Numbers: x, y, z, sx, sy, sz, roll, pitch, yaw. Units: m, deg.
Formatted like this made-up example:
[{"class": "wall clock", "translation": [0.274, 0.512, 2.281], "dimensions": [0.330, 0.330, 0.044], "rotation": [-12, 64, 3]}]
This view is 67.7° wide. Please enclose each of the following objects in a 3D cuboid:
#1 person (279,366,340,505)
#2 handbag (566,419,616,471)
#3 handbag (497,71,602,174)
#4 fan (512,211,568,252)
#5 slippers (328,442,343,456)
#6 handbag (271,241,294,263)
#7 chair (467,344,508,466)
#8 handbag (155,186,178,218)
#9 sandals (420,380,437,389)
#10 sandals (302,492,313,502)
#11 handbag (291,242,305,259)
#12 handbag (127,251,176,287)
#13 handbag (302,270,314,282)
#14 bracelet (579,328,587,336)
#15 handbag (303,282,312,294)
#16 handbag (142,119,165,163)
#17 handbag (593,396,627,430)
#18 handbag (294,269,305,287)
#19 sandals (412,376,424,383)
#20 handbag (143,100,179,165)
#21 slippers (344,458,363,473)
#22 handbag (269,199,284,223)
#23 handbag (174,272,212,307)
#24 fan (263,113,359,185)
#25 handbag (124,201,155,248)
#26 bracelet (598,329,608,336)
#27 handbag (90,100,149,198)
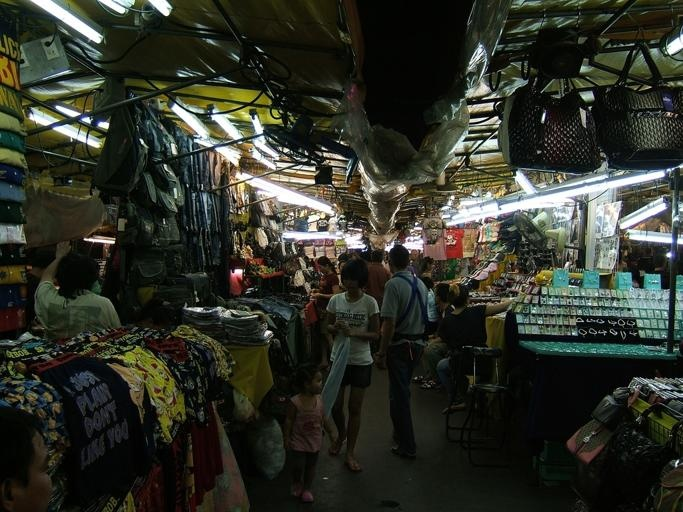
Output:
[{"class": "person", "translation": [-0.314, 1.439, 4.212], "dimensions": [0.286, 1.056, 0.366], "rotation": [1, 5, 2]}, {"class": "handbag", "translation": [1.536, 1.159, 3.121], "dimensions": [0.285, 0.082, 0.248], "rotation": [-40, 15, 13]}, {"class": "handbag", "translation": [1.584, -0.914, 3.788], "dimensions": [0.711, 0.665, 0.402], "rotation": [-2, 6, -7]}, {"class": "fan", "translation": [3.369, -0.410, 8.450], "dimensions": [0.818, 0.650, 1.499], "rotation": [4, 6, 32]}, {"class": "slippers", "translation": [-0.062, 1.900, 5.018], "dimensions": [0.120, 0.111, 0.094], "rotation": [11, -5, 12]}, {"class": "handbag", "translation": [-1.148, -0.072, 9.764], "dimensions": [0.396, 0.223, 0.620], "rotation": [1, -3, 5]}, {"class": "chair", "translation": [1.445, 1.459, 5.193], "dimensions": [0.387, 0.915, 0.410], "rotation": [8, -9, 5]}, {"class": "handbag", "translation": [-1.854, -0.575, 5.379], "dimensions": [0.065, 0.218, 0.166], "rotation": [-23, 19, -10]}, {"class": "sandals", "translation": [1.219, 1.824, 7.168], "dimensions": [0.229, 0.098, 0.085], "rotation": [1, -4, 1]}, {"class": "sandals", "translation": [-0.276, 1.939, 4.085], "dimensions": [0.055, 0.037, 0.102], "rotation": [1, -11, -2]}, {"class": "handbag", "translation": [-0.979, -0.134, 11.485], "dimensions": [0.330, 0.323, 0.318], "rotation": [-2, -4, 5]}, {"class": "handbag", "translation": [-1.959, 0.064, 5.079], "dimensions": [0.406, 0.387, 0.295], "rotation": [-6, 29, -35]}, {"class": "handbag", "translation": [-0.727, 0.436, 11.225], "dimensions": [0.237, 0.212, 0.182], "rotation": [-4, 42, -35]}, {"class": "bracelet", "translation": [2.265, 0.714, 4.782], "dimensions": [0.095, 0.064, 0.032], "rotation": [1, 5, -8]}, {"class": "handbag", "translation": [-0.704, 0.641, 10.231], "dimensions": [0.051, 0.222, 0.248], "rotation": [-11, -22, 29]}, {"class": "handbag", "translation": [-1.894, -1.222, 5.164], "dimensions": [0.049, 0.159, 0.441], "rotation": [26, -35, 12]}, {"class": "handbag", "translation": [1.640, 0.963, 3.098], "dimensions": [0.098, 0.166, 0.178], "rotation": [37, 6, -10]}, {"class": "handbag", "translation": [-0.844, 0.436, 9.971], "dimensions": [0.083, 0.312, 0.192], "rotation": [-4, -5, 43]}, {"class": "sandals", "translation": [1.120, 1.834, 7.497], "dimensions": [0.189, 0.073, 0.063], "rotation": [-1, 0, 6]}, {"class": "handbag", "translation": [-1.915, -1.250, 5.247], "dimensions": [0.216, 0.606, 0.469], "rotation": [-18, 2, 17]}, {"class": "slippers", "translation": [0.111, 1.910, 4.645], "dimensions": [0.147, 0.073, 0.208], "rotation": [0, 5, -13]}, {"class": "handbag", "translation": [-1.396, -0.968, 10.906], "dimensions": [0.144, 0.421, 0.427], "rotation": [1, 5, 13]}, {"class": "handbag", "translation": [-1.632, 0.349, 5.549], "dimensions": [0.270, 0.316, 0.777], "rotation": [-2, 0, -3]}, {"class": "fan", "translation": [-0.308, -1.159, 5.550], "dimensions": [0.968, 0.368, 0.620], "rotation": [30, 12, -36]}, {"class": "handbag", "translation": [-1.997, -0.305, 4.986], "dimensions": [0.233, 0.430, 0.430], "rotation": [0, -2, 0]}, {"class": "bracelet", "translation": [2.454, 0.720, 4.771], "dimensions": [0.054, 0.055, 0.016], "rotation": [2, -21, 16]}, {"class": "handbag", "translation": [-2.031, -0.989, 4.661], "dimensions": [0.446, 0.764, 0.214], "rotation": [-1, 5, -26]}]
